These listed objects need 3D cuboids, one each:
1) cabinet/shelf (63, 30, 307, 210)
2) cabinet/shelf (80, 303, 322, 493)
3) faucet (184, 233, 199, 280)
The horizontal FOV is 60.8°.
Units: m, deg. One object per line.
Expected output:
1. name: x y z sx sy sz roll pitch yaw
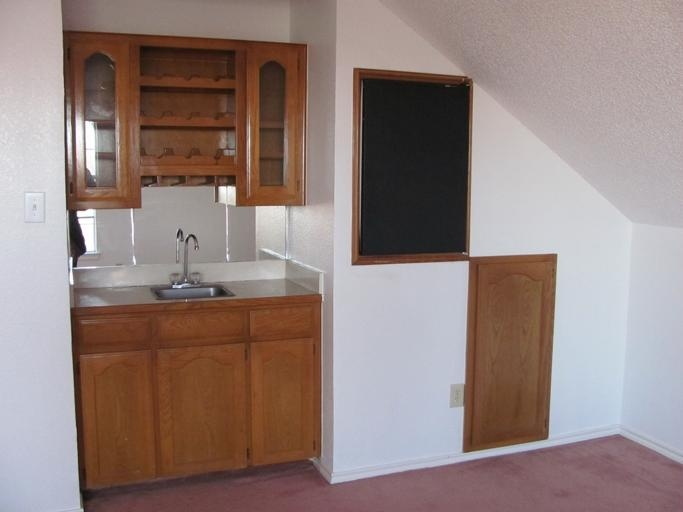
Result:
1. cabinet/shelf: -0.956 -0.832 3.509 1.155 0.788 0.345 -2 3 -20
2. cabinet/shelf: -0.872 0.808 3.387 1.073 0.777 0.380 -2 2 -19
3. faucet: -0.996 0.018 3.845 0.121 0.330 0.072 -2 0 -39
